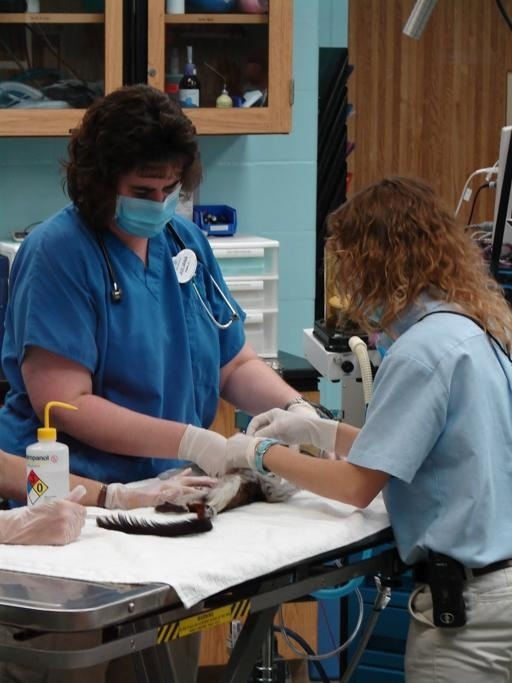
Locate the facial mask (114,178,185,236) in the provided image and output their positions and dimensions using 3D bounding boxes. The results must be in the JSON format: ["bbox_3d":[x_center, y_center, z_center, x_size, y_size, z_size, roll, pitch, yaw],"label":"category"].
[{"bbox_3d":[-0.195,-0.246,1.472,0.109,0.091,0.084,-11,19,-30],"label":"facial mask"}]

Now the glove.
[{"bbox_3d":[-0.006,0.135,1.383,0.271,0.108,0.211,-3,9,-11],"label":"glove"}]

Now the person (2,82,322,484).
[{"bbox_3d":[-0.227,-0.076,1.552,0.577,0.749,0.409,-6,17,-28],"label":"person"}]

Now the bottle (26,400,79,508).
[{"bbox_3d":[-0.302,0.156,1.191,0.069,0.167,0.302,-3,8,-13],"label":"bottle"}]
